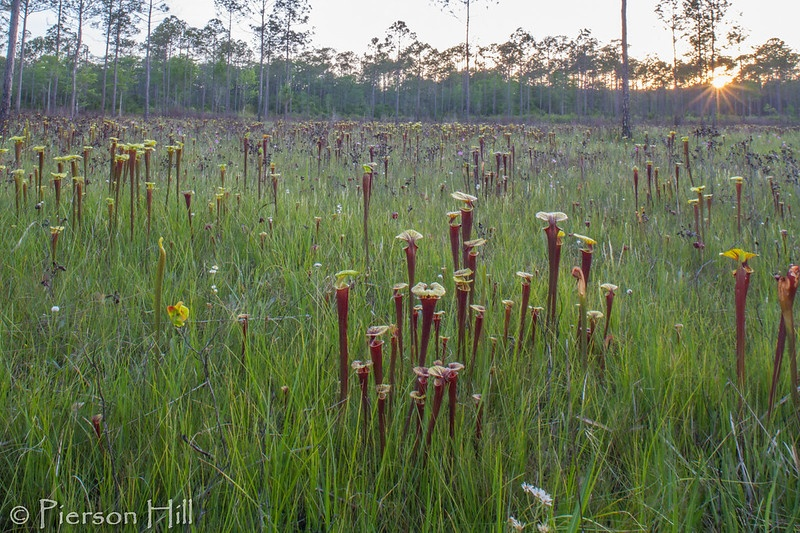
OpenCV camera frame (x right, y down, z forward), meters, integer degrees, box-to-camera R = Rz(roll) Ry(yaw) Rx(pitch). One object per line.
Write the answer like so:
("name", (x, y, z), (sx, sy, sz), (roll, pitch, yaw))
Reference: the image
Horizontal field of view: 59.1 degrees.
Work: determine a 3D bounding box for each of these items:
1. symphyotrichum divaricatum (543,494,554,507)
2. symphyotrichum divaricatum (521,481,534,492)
("symphyotrichum divaricatum", (0.926, 1.459, 4.392), (0.058, 0.044, 0.071), (4, -19, -3))
("symphyotrichum divaricatum", (0.801, 1.393, 4.449), (0.079, 0.057, 0.088), (-10, -18, 35))
